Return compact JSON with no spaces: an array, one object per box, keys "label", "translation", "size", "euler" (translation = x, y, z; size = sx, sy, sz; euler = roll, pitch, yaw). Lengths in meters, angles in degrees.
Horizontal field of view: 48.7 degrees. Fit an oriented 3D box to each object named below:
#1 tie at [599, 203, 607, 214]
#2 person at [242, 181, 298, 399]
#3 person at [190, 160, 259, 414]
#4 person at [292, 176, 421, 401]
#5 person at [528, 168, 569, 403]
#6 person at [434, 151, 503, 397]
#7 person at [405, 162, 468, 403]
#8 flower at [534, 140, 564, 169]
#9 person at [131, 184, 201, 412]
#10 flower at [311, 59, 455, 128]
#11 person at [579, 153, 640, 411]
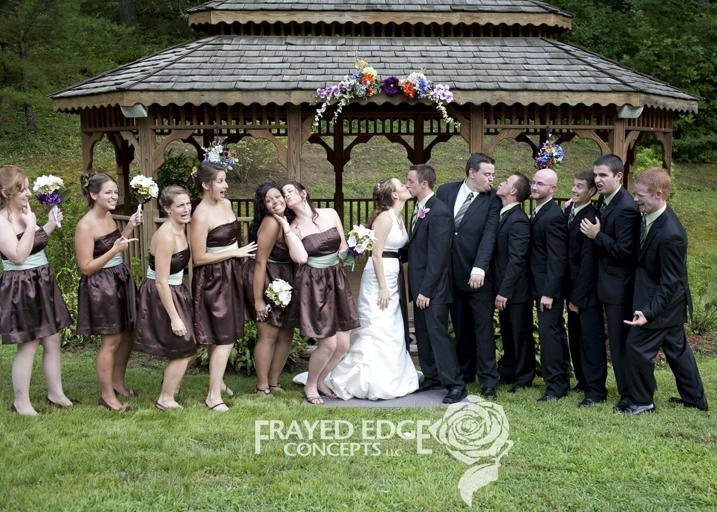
[{"label":"tie","translation":[3.064,-0.607,9.935],"size":[0.032,0.106,0.073],"euler":[24,-22,-37]},{"label":"person","translation":[-1.071,0.418,10.098],"size":[0.812,2.484,0.823],"euler":[-1,3,-27]},{"label":"person","translation":[-1.664,0.379,9.975],"size":[0.738,3.043,0.972],"euler":[0,9,13]},{"label":"person","translation":[0.007,0.401,10.329],"size":[1.092,3.128,1.131],"euler":[-3,4,-43]},{"label":"person","translation":[2.444,0.347,10.286],"size":[0.521,3.005,0.917],"euler":[-2,7,6]},{"label":"person","translation":[1.495,0.228,10.379],"size":[0.906,2.966,0.725],"euler":[6,15,8]},{"label":"person","translation":[0.978,0.320,10.114],"size":[0.458,2.964,0.890],"euler":[-4,7,-41]},{"label":"flower","translation":[2.634,-1.410,10.917],"size":[0.332,0.391,0.844],"euler":[1,6,12]},{"label":"person","translation":[-2.345,0.473,9.665],"size":[0.807,2.409,1.005],"euler":[1,16,-16]},{"label":"flower","translation":[0.402,-2.457,12.238],"size":[1.977,1.008,0.753],"euler":[3,12,-1]},{"label":"person","translation":[3.208,0.335,9.992],"size":[0.649,3.142,0.938],"euler":[-3,0,15]}]
